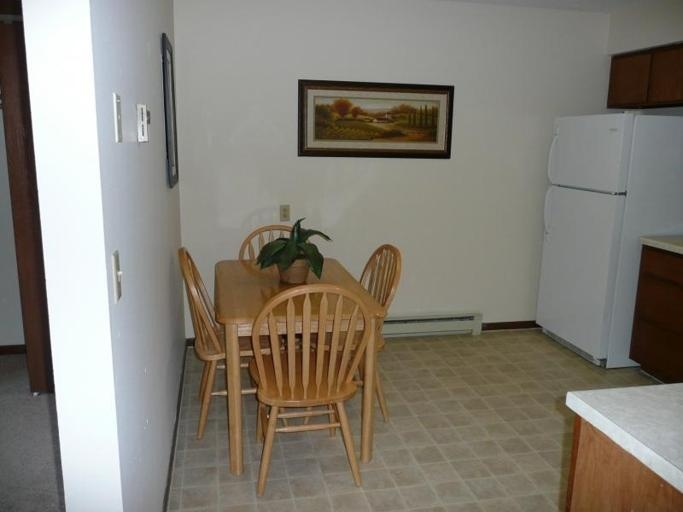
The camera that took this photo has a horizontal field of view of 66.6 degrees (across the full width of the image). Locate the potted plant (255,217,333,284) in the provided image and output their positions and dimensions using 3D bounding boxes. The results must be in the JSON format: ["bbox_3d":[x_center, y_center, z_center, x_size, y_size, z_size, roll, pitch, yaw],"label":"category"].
[{"bbox_3d":[-0.262,-0.042,3.144,0.316,0.321,0.433,0,4,5],"label":"potted plant"}]
